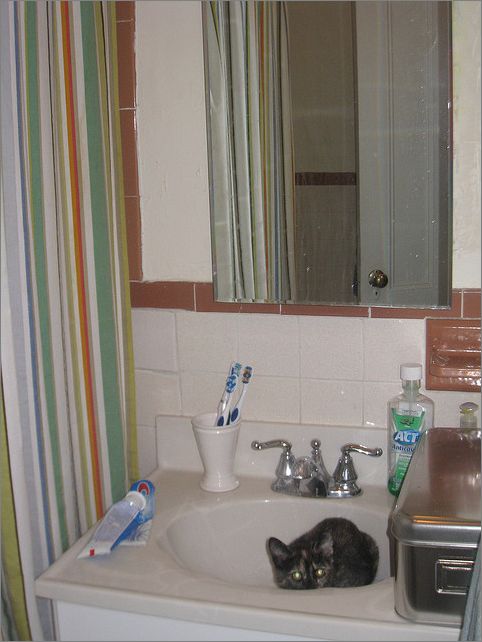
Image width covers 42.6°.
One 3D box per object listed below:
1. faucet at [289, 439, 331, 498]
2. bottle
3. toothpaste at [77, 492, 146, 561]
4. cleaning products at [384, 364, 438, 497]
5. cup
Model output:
[{"bbox_3d":[0.133,0.254,1.052,0.088,0.110,0.062,-13,-32,37],"label":"faucet"},{"bbox_3d":[0.263,0.164,0.980,0.071,0.260,0.097,4,14,20],"label":"bottle"},{"bbox_3d":[-0.181,0.308,0.907,0.056,0.056,0.115,-1,4,5],"label":"toothpaste"},{"bbox_3d":[0.275,0.118,0.962,0.082,0.309,0.069,0,2,16],"label":"cleaning products"},{"bbox_3d":[-0.038,0.214,1.067,0.084,0.158,0.100,-2,7,-3],"label":"cup"}]
